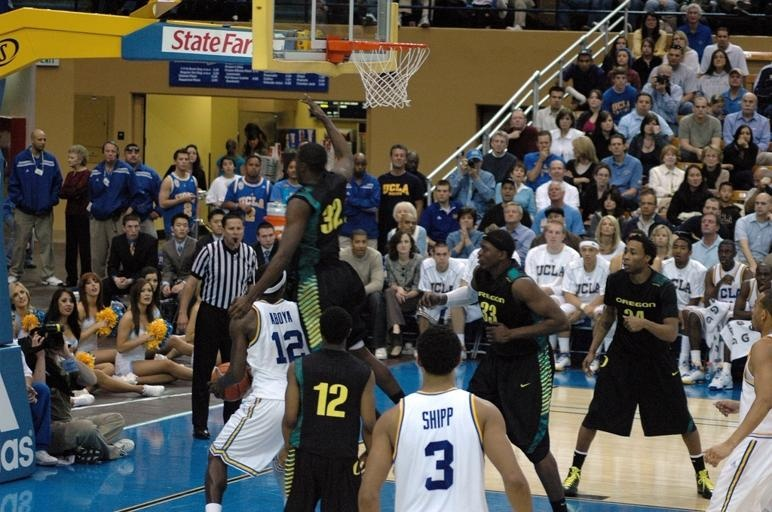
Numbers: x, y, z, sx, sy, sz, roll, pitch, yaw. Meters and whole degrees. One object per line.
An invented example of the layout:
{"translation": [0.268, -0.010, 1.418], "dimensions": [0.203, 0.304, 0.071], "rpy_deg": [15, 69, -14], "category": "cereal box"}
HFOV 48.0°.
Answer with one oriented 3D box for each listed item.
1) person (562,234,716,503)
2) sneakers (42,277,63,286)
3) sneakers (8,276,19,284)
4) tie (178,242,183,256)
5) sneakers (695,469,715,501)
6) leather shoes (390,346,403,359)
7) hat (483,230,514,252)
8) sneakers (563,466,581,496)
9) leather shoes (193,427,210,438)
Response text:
{"translation": [2.504, 1.071, 8.547], "dimensions": [1.336, 2.622, 0.760], "rpy_deg": [3, 5, 19], "category": "person"}
{"translation": [-6.374, 0.485, 16.466], "dimensions": [0.475, 0.227, 0.216], "rpy_deg": [-1, 2, 18], "category": "sneakers"}
{"translation": [-5.352, 0.324, 12.331], "dimensions": [0.114, 0.067, 0.159], "rpy_deg": [1, -5, -1], "category": "sneakers"}
{"translation": [-3.418, -0.127, 14.276], "dimensions": [0.124, 0.193, 0.056], "rpy_deg": [0, -5, 1], "category": "tie"}
{"translation": [3.209, 2.249, 8.613], "dimensions": [0.128, 0.179, 0.399], "rpy_deg": [-4, 0, -5], "category": "sneakers"}
{"translation": [0.139, 1.498, 13.669], "dimensions": [0.157, 0.187, 0.458], "rpy_deg": [0, -4, 12], "category": "leather shoes"}
{"translation": [1.004, -0.136, 7.668], "dimensions": [0.231, 0.206, 0.176], "rpy_deg": [18, 13, -16], "category": "hat"}
{"translation": [1.877, 2.234, 8.702], "dimensions": [0.121, 0.174, 0.369], "rpy_deg": [8, 11, 12], "category": "sneakers"}
{"translation": [-2.140, 2.002, 9.940], "dimensions": [0.190, 0.093, 0.088], "rpy_deg": [-4, -2, 33], "category": "leather shoes"}
